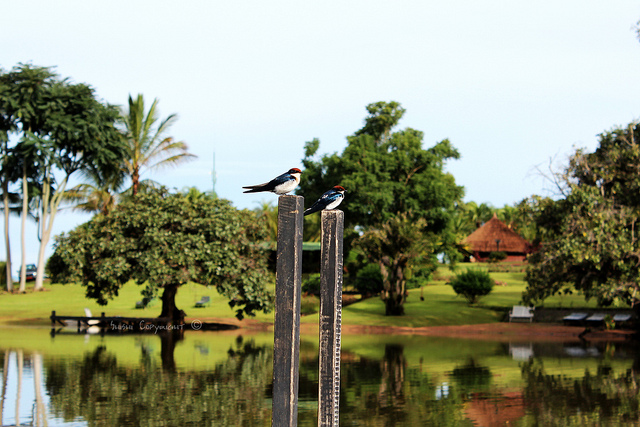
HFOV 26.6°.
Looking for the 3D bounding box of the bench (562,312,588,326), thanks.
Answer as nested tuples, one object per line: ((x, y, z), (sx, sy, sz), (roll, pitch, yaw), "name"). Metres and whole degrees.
((17.519, 7.386, 92.608), (1.661, 0.856, 1.224), (-4, -10, 15), "bench")

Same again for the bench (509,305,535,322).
((14.104, 7.179, 94.388), (1.711, 1.199, 0.950), (-3, -9, 9), "bench")

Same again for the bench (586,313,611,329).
((18.771, 7.432, 91.482), (0.839, 0.383, 1.373), (-23, 6, 11), "bench")
